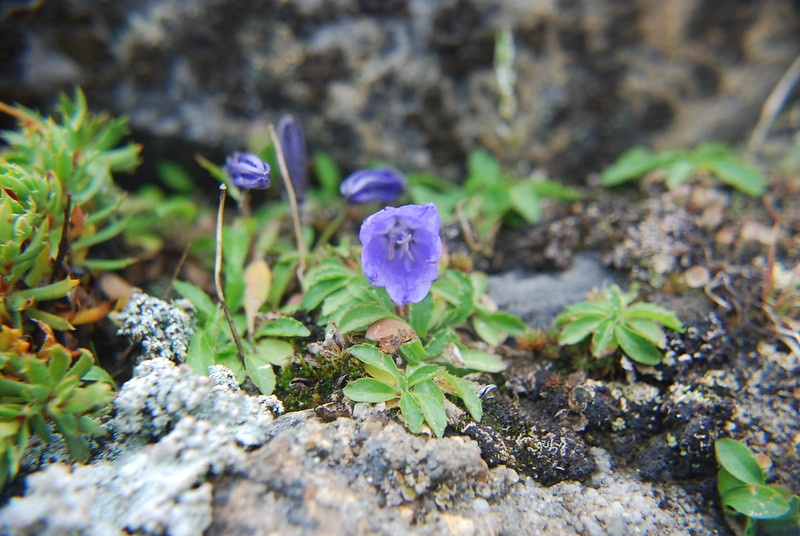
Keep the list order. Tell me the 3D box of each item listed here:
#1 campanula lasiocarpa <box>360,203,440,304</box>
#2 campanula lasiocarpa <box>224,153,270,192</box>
[{"bbox_3d":[-0.001,-0.119,4.374,0.483,0.438,0.540,8,57,16],"label":"campanula lasiocarpa"},{"bbox_3d":[-0.976,-0.626,4.515,0.306,0.134,0.194,25,92,45],"label":"campanula lasiocarpa"}]
